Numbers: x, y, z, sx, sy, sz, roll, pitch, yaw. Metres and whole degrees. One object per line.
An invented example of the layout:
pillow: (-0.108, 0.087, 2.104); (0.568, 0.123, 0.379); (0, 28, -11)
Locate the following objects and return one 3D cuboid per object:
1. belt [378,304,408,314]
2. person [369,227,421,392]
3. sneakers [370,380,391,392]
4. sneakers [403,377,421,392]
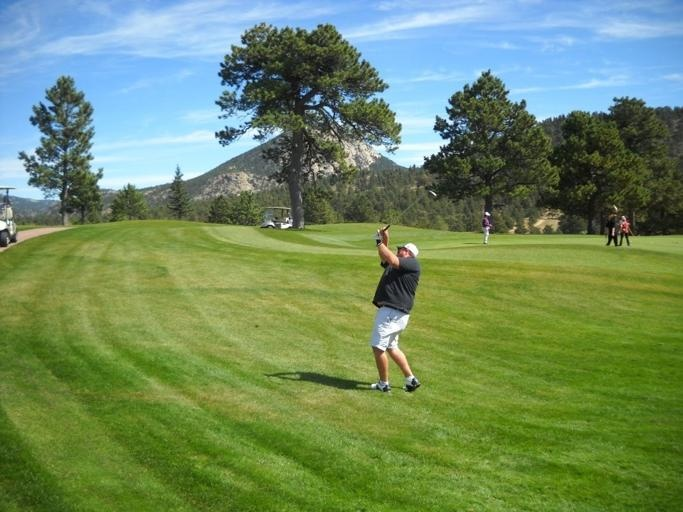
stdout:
belt: (0.852, 0.840, 8.802); (0.469, 0.150, 0.172); (5, 12, 3)
person: (0.862, 0.891, 8.889); (0.868, 2.716, 0.730); (2, 12, -15)
sneakers: (0.640, 2.123, 8.953); (0.359, 0.150, 0.140); (9, 7, 29)
sneakers: (1.152, 2.112, 8.966); (0.137, 0.175, 0.363); (1, -19, -10)
